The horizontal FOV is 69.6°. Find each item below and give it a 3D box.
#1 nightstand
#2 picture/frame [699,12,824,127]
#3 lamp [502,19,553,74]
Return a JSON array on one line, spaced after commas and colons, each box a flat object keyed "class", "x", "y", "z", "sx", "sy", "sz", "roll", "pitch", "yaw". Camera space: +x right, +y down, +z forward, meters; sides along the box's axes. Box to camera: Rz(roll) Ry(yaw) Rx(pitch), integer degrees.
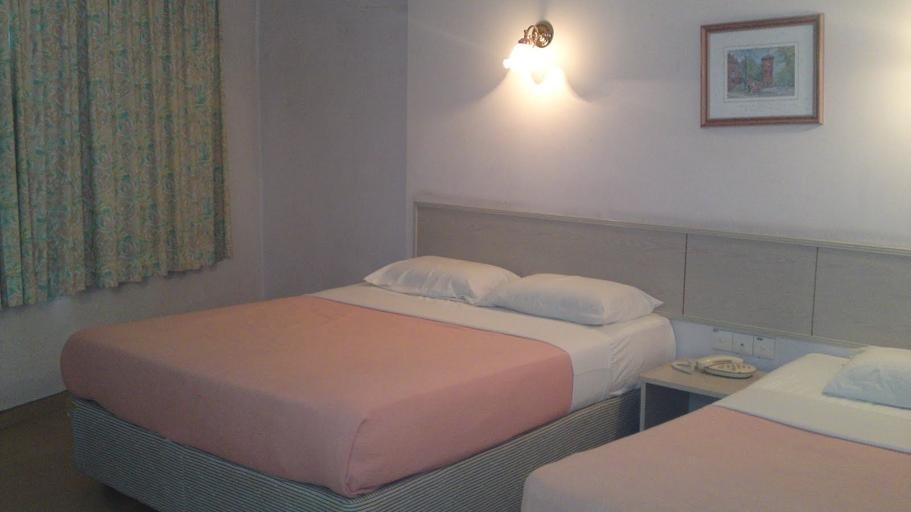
[{"class": "nightstand", "x": 1.317, "y": 0.717, "z": 3.546, "sx": 0.506, "sy": 0.474, "sz": 0.516, "roll": -11, "pitch": 14, "yaw": -43}, {"class": "picture/frame", "x": 1.673, "y": -1.007, "z": 3.521, "sx": 0.705, "sy": 0.580, "sz": 0.076, "roll": 1, "pitch": 7, "yaw": 32}, {"class": "lamp", "x": 0.461, "y": -1.347, "z": 4.123, "sx": 0.183, "sy": 0.312, "sz": 0.163, "roll": 4, "pitch": 28, "yaw": -35}]
